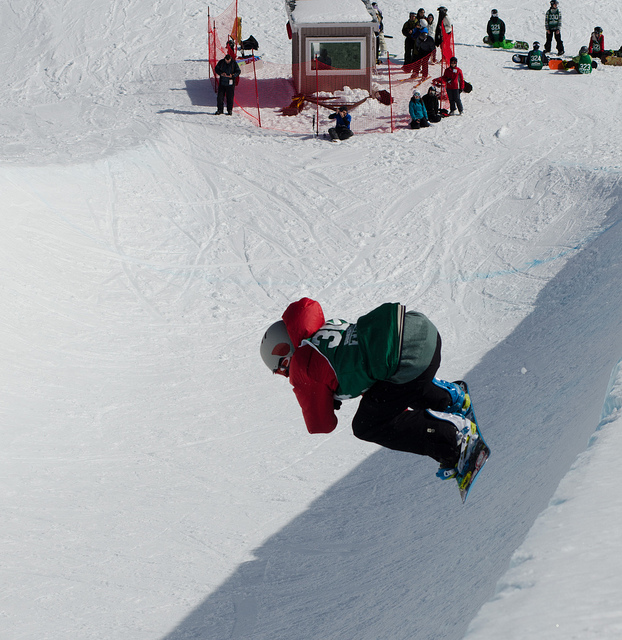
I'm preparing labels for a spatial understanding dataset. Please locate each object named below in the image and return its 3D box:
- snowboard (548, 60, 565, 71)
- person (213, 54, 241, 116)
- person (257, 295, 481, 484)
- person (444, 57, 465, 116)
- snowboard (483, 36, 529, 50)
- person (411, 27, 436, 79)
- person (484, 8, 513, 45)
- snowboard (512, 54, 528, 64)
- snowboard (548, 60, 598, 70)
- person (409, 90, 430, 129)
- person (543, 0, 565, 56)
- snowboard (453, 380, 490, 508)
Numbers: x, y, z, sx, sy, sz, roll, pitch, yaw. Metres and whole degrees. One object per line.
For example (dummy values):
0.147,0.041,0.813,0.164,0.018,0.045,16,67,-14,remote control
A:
6.175,-6.383,19.701,0.453,0.231,0.092,0,12,-7,snowboard
-1.757,-4.894,16.389,0.542,1.274,1.148,-3,25,-6,person
0.440,0.602,5.943,0.982,1.456,0.808,-29,36,45,person
3.069,-5.004,16.792,0.442,1.148,0.900,4,26,8,person
5.567,-7.882,22.318,1.309,0.327,0.662,8,24,19,snowboard
2.682,-6.361,18.717,0.508,1.134,0.696,2,26,6,person
5.310,-8.286,22.253,0.621,0.919,0.686,-7,26,-14,person
5.480,-6.724,20.256,0.511,0.140,0.182,5,-18,4,snowboard
6.582,-6.414,19.753,1.133,0.216,0.527,4,23,10,snowboard
2.242,-4.318,16.113,0.429,0.717,0.567,2,25,5,person
7.078,-8.449,22.621,0.636,1.425,2.815,7,24,14,person
1.074,0.854,5.572,0.261,0.157,0.801,-36,32,28,snowboard
